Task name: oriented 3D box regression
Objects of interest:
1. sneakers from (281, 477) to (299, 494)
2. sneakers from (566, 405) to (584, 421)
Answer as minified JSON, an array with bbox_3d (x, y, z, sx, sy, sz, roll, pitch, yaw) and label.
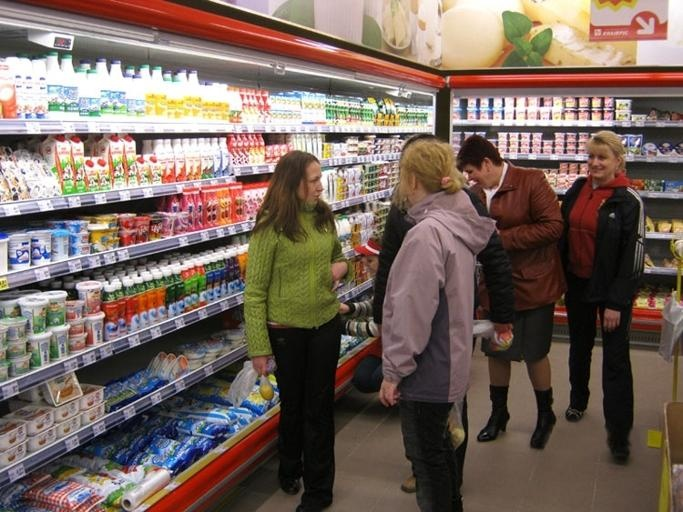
[{"bbox_3d":[-0.331,1.495,3.078,0.065,0.053,0.123,2,-11,-5],"label":"sneakers"},{"bbox_3d":[1.999,1.347,4.070,0.073,0.089,0.218,-2,-3,25],"label":"sneakers"}]
